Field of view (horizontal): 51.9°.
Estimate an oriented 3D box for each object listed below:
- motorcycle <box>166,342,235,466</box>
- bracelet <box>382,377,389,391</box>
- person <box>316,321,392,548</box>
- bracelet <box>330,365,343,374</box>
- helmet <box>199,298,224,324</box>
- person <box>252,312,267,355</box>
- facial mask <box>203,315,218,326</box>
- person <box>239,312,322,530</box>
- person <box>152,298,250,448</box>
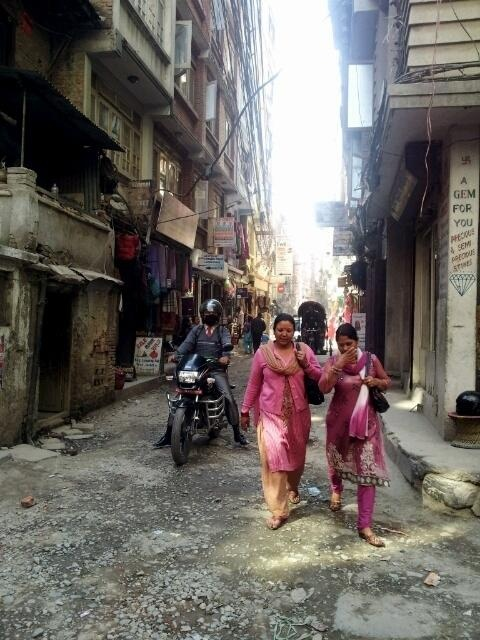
[{"bbox_3d":[-0.474,0.861,5.470,0.527,1.091,1.348,1,-4,11],"label":"motorcycle"},{"bbox_3d":[1.022,0.399,3.464,0.028,0.096,0.065,2,1,-13],"label":"bracelet"},{"bbox_3d":[0.791,0.680,3.478,0.481,1.357,0.664,1,-3,19],"label":"person"},{"bbox_3d":[0.639,0.287,3.324,0.044,0.039,0.045,1,4,-39],"label":"bracelet"},{"bbox_3d":[-0.357,-0.159,6.037,0.263,0.313,0.402,2,-4,-6],"label":"helmet"},{"bbox_3d":[0.646,0.228,19.393,0.443,1.765,0.457,7,27,-1],"label":"person"},{"bbox_3d":[-0.360,-0.050,5.962,0.104,0.137,0.132,3,2,3],"label":"facial mask"},{"bbox_3d":[0.317,0.645,3.699,0.551,1.447,0.526,3,-3,-24],"label":"person"},{"bbox_3d":[-0.366,0.549,5.949,0.596,1.789,1.472,-3,-4,9],"label":"person"}]
